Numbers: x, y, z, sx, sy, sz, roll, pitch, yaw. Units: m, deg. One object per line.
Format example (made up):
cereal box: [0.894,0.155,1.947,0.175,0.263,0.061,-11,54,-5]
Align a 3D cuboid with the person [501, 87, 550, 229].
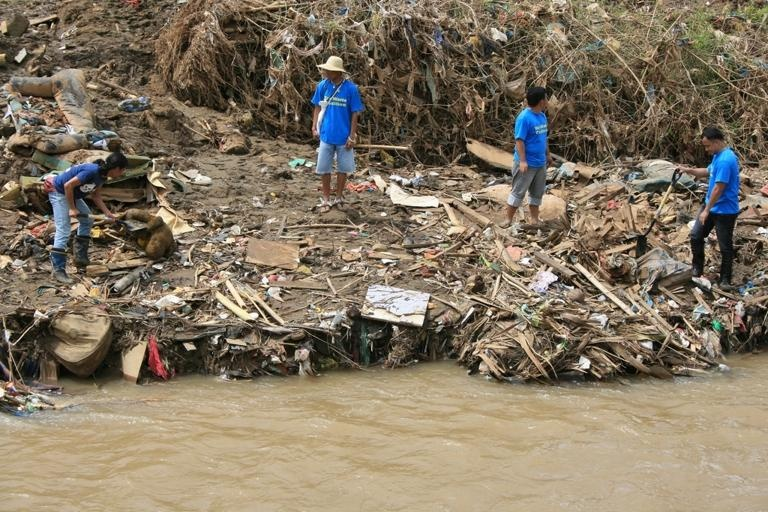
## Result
person: [1.990,-1.409,12.387,0.587,1.986,0.668,0,7,7]

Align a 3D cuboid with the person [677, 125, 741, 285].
person: [4.396,-0.662,11.870,0.722,2.130,0.586,0,7,5]

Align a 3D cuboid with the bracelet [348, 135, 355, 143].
bracelet: [-0.441,-1.684,12.733,0.073,0.086,0.131,3,6,32]

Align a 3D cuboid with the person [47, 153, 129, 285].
person: [-3.913,-0.516,11.647,1.055,1.676,0.544,-1,7,-7]

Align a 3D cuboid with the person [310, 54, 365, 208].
person: [-0.694,-1.756,12.802,0.590,2.153,0.679,-4,8,-29]

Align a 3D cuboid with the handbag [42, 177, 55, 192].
handbag: [-4.427,-0.957,11.742,0.256,0.090,0.266,-2,31,-9]
